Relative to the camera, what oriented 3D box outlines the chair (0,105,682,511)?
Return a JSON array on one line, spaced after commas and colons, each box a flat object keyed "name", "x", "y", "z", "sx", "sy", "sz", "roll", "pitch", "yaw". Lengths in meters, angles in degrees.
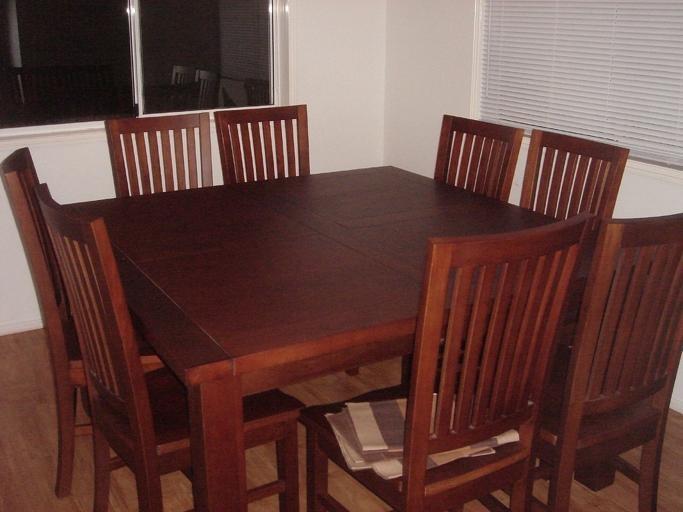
[{"name": "chair", "x": -0.275, "y": 0.206, "z": 2.920, "sx": 2.149, "sy": 1.290, "sz": 1.895, "roll": -13, "pitch": 29, "yaw": -24}]
